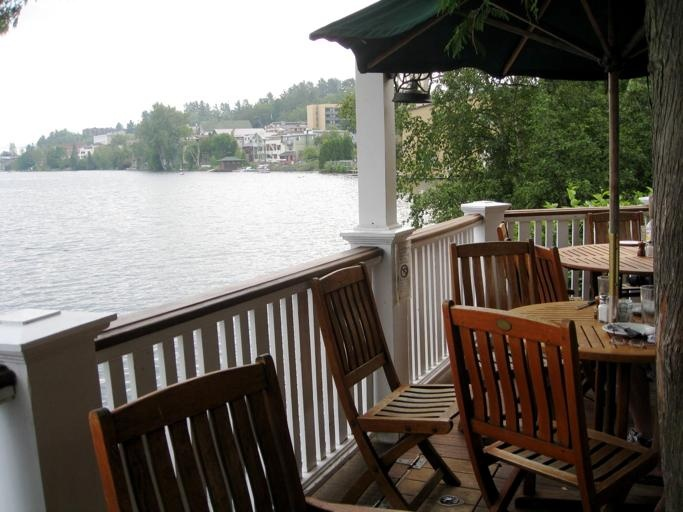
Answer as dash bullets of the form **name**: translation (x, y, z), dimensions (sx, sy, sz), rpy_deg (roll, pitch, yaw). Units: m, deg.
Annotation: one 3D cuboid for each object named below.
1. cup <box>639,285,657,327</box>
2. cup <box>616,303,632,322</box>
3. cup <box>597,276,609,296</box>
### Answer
- **cup**: translation (1.377, 0.226, 2.723), dimensions (0.104, 0.179, 0.100), rpy_deg (-6, 0, 0)
- **cup**: translation (1.269, 0.253, 2.693), dimensions (0.069, 0.113, 0.072), rpy_deg (0, -4, 0)
- **cup**: translation (1.252, 0.133, 2.860), dimensions (0.041, 0.089, 0.162), rpy_deg (-1, 9, 20)
